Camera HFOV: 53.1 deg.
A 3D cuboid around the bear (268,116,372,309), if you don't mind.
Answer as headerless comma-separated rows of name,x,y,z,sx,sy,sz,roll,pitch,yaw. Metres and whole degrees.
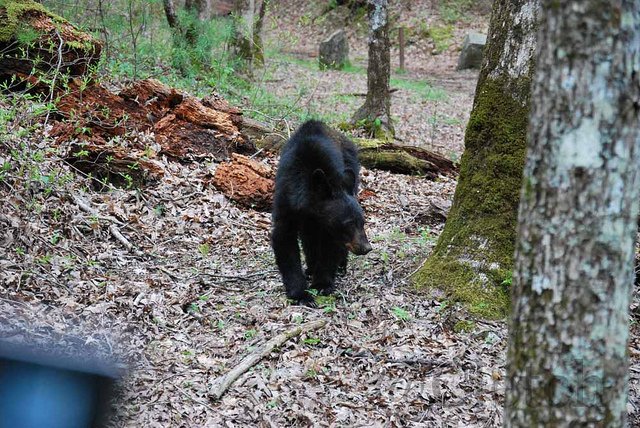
bear,-0.001,-0.009,7.664,1.149,1.983,1.619,4,18,-4
